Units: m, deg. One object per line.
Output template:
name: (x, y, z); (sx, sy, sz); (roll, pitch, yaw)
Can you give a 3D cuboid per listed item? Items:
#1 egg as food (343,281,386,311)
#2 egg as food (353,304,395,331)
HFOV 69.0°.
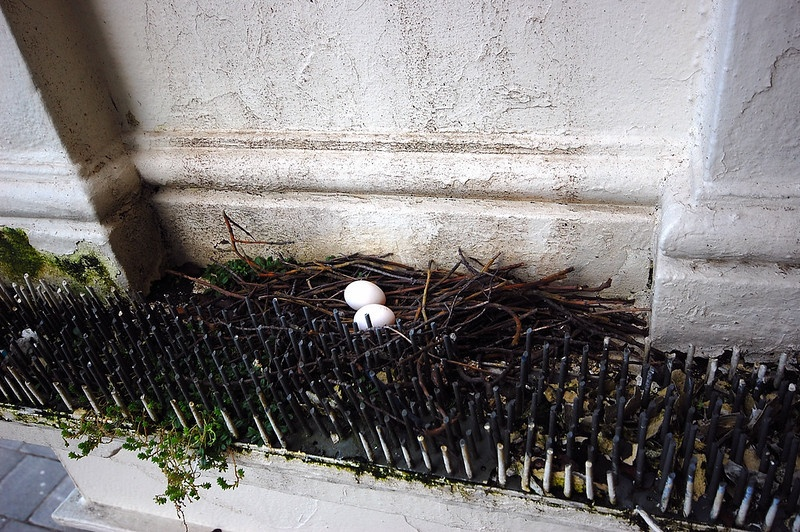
egg as food: (-0.133, 0.097, 2.059); (0.124, 0.092, 0.095); (9, -21, 23)
egg as food: (-0.087, 0.168, 1.927); (0.112, 0.081, 0.084); (-5, -38, 12)
